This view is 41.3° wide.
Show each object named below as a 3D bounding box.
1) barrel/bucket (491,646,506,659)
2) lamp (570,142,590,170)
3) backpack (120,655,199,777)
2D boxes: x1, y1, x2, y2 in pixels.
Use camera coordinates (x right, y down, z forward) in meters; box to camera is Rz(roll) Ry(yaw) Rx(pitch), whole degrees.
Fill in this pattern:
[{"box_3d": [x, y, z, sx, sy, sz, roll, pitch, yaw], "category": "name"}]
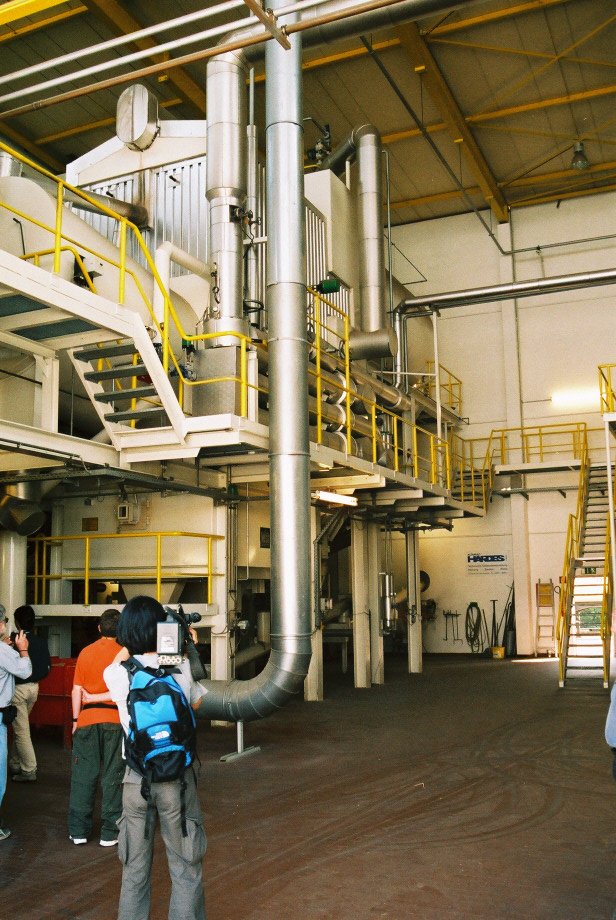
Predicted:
[{"box_3d": [5.068, 5.090, 21.656, 0.307, 0.330, 0.328, 0, -9, 0], "category": "barrel/bucket"}, {"box_3d": [6.996, -7.760, 21.092, 0.322, 0.689, 1.424, -5, -5, 23], "category": "lamp"}, {"box_3d": [-0.597, 1.053, 3.363, 0.284, 0.436, 0.439, 1, -2, -24], "category": "backpack"}]
